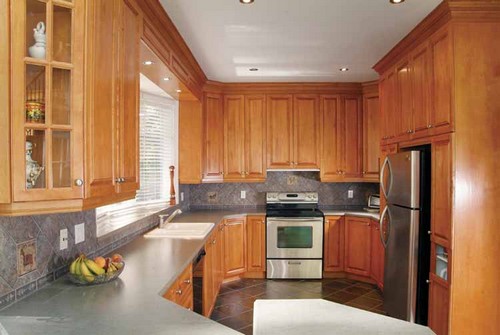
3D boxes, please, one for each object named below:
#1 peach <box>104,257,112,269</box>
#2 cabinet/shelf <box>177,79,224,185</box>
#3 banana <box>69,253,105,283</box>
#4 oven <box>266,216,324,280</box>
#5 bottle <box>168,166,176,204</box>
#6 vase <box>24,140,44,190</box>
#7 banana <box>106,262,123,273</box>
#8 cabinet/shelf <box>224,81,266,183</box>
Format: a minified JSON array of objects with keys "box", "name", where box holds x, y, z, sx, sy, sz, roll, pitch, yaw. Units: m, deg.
[{"box":[-1.024,0.691,2.595,0.056,0.060,0.034,11,-11,-27],"name":"peach"},{"box":[-0.656,-0.432,5.140,0.504,1.384,0.400,4,-8,-42],"name":"cabinet/shelf"},{"box":[-1.134,0.712,2.502,0.235,0.066,0.146,37,23,22],"name":"banana"},{"box":[0.545,1.157,5.266,0.887,0.848,0.613,5,-10,-19],"name":"oven"},{"box":[-1.016,0.216,4.720,0.098,0.480,0.396,-4,12,-11],"name":"bottle"},{"box":[-1.295,-0.022,2.152,0.100,0.281,0.053,-9,14,-31],"name":"vase"},{"box":[-0.981,0.715,2.600,0.076,0.048,0.082,0,1,2],"name":"banana"},{"box":[-0.071,-0.453,5.282,0.598,1.251,0.319,-1,12,3],"name":"cabinet/shelf"}]
